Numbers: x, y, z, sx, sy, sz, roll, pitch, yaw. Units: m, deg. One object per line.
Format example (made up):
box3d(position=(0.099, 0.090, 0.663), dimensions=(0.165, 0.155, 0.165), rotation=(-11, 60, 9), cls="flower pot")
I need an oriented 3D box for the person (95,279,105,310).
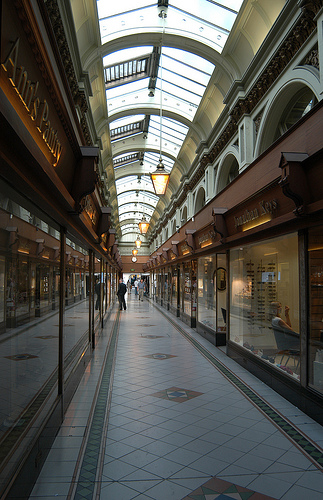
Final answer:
box3d(position=(-2.435, 1.736, 10.053), dimensions=(0.292, 1.186, 1.713), rotation=(3, -14, -14), cls="person")
